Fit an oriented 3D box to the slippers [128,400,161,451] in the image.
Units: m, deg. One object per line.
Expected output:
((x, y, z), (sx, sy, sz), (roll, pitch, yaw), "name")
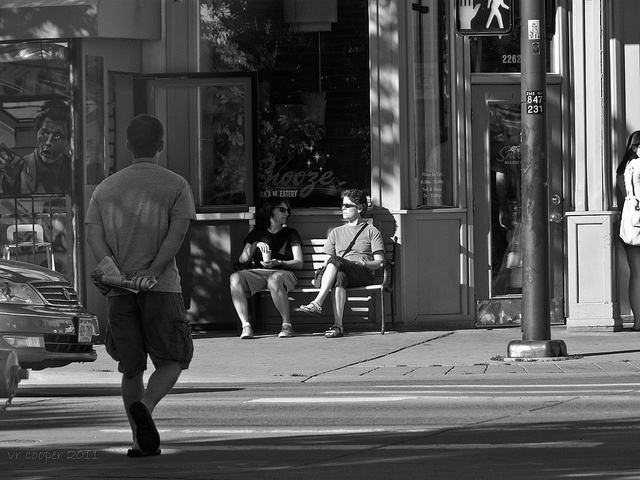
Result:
((-1.257, 1.341, 8.511), (0.158, 0.398, 0.157), (-18, 16, 11), "slippers")

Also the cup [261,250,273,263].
((-0.681, 0.200, 15.164), (0.127, 0.159, 0.176), (-1, 2, -4), "cup")

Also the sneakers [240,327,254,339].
((-0.922, 1.152, 14.849), (0.151, 0.160, 0.217), (-1, 2, -8), "sneakers")

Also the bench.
((0.060, 0.593, 15.371), (1.770, 1.136, 0.718), (-4, -1, 21), "bench")

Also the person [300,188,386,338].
((0.327, 0.280, 15.049), (0.942, 1.826, 0.688), (-2, 2, -14), "person")

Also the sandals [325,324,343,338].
((0.184, 1.133, 14.767), (0.248, 0.151, 0.177), (-2, 2, -12), "sandals")

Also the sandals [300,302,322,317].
((-0.127, 0.863, 14.832), (0.267, 0.195, 0.320), (-1, 2, -6), "sandals")

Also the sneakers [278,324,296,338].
((-0.429, 1.137, 14.903), (0.199, 0.163, 0.278), (-1, 2, -2), "sneakers")

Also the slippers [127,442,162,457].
((-1.274, 1.510, 8.533), (0.226, 0.082, 0.089), (0, 4, -2), "slippers")

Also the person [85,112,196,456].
((-1.341, 0.306, 8.812), (0.745, 2.505, 0.682), (0, 2, 44), "person")

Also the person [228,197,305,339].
((-0.695, 0.333, 15.218), (0.901, 1.751, 1.060), (-1, 2, 8), "person")

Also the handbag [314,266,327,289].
((-0.008, 0.471, 15.167), (0.204, 0.276, 0.114), (7, -6, -21), "handbag")
